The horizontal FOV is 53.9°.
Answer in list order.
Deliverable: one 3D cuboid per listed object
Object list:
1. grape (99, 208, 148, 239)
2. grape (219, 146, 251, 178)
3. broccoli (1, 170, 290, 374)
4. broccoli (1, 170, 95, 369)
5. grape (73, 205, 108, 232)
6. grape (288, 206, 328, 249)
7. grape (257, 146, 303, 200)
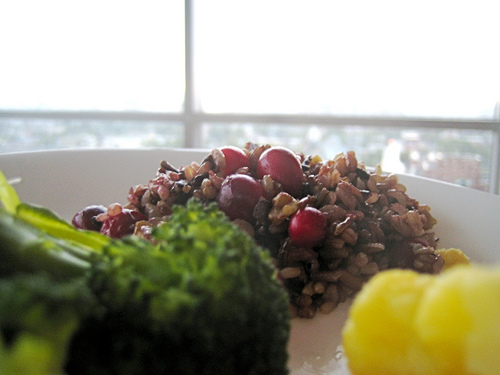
[{"bbox_3d":[-0.170,0.048,0.655,0.038,0.035,0.057,0,2,20],"label":"grape"},{"bbox_3d":[-0.020,-0.038,0.672,0.038,0.045,0.037,-30,-9,-10],"label":"grape"},{"bbox_3d":[-0.089,0.060,0.446,0.236,0.119,0.139,23,12,4],"label":"broccoli"},{"bbox_3d":[-0.138,0.069,0.356,0.065,0.104,0.028,-7,-11,28],"label":"broccoli"},{"bbox_3d":[-0.231,0.042,0.714,0.034,0.034,0.044,6,14,41],"label":"grape"},{"bbox_3d":[0.071,0.051,0.597,0.048,0.055,0.021,1,8,0],"label":"grape"},{"bbox_3d":[0.037,-0.022,0.651,0.073,0.058,0.055,-8,8,-25],"label":"grape"}]
